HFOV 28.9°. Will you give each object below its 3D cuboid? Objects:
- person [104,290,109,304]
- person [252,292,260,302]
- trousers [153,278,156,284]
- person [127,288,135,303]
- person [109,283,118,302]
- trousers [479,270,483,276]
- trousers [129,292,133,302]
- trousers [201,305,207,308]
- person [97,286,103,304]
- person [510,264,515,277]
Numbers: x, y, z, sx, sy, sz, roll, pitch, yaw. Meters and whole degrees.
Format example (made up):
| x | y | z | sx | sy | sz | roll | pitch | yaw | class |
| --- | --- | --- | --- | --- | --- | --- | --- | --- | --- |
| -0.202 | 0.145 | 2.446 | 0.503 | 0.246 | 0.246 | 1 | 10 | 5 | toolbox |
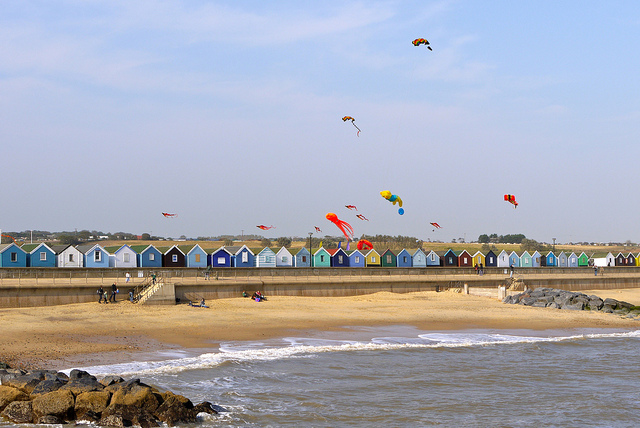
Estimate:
| x | y | z | sx | sy | sz | roll | pitch | yaw | class |
| --- | --- | --- | --- | --- | --- | --- | --- | --- | --- |
| -19.699 | 7.342 | 113.680 | 0.409 | 1.194 | 1.728 | 1 | -6 | -10 | person |
| -6.125 | 7.670 | 117.472 | 0.681 | 0.824 | 1.996 | 2 | -4 | -16 | person |
| -15.587 | 6.056 | 115.795 | 0.111 | 0.433 | 0.466 | -1 | 6 | 8 | trousers |
| -17.826 | 7.233 | 114.736 | 0.923 | 1.317 | 0.903 | 0 | -8 | -1 | person |
| -19.131 | 7.019 | 113.933 | 0.664 | 1.615 | 0.756 | 1 | -5 | -7 | person |
| 17.770 | 6.236 | 136.817 | 0.579 | 0.536 | 0.139 | 0 | -4 | 4 | trousers |
| -17.559 | 7.394 | 114.474 | 0.288 | 0.829 | 0.790 | 1 | -6 | -12 | trousers |
| -10.604 | 8.174 | 112.517 | 0.470 | 0.255 | 1.274 | 2 | -6 | -17 | trousers |
| -20.205 | 7.145 | 113.227 | 0.415 | 1.502 | 0.946 | 1 | -6 | -9 | person |
| 21.680 | 6.166 | 139.606 | 0.343 | 1.099 | 0.972 | -3 | 7 | -15 | person |
